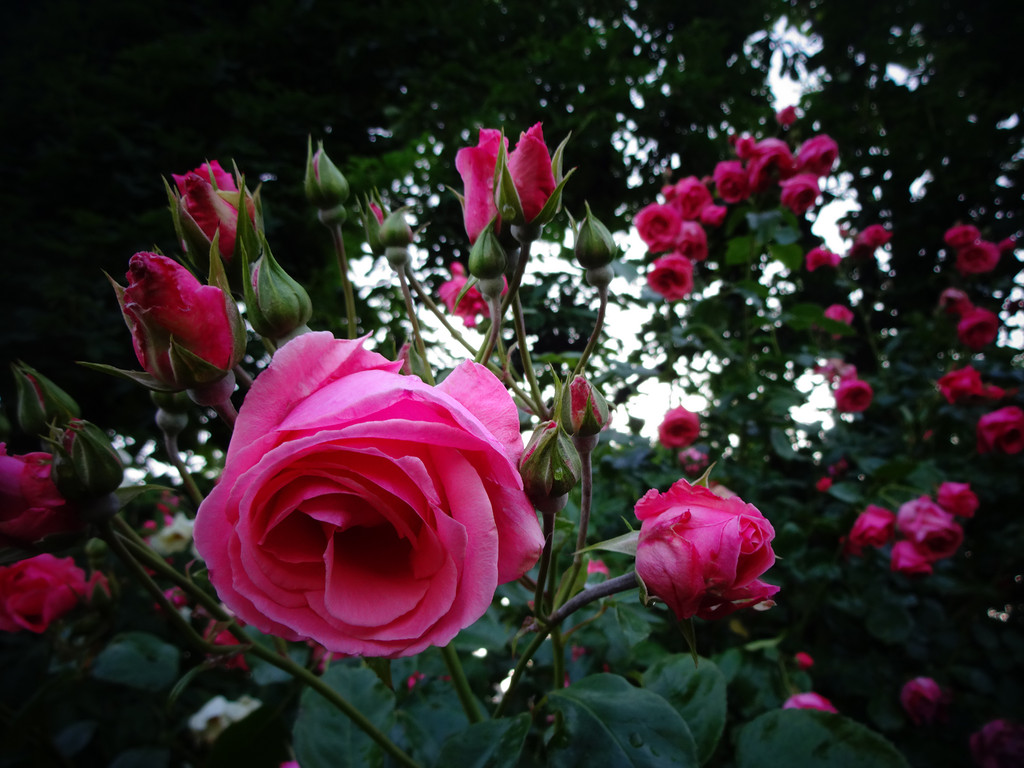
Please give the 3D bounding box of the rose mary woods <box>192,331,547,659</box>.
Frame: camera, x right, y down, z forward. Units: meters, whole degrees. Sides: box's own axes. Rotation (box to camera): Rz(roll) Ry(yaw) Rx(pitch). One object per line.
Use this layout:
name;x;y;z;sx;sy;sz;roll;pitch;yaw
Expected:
rose mary woods;-0.289;0.300;1.752;0.358;0.836;0.651;18;6;-39
